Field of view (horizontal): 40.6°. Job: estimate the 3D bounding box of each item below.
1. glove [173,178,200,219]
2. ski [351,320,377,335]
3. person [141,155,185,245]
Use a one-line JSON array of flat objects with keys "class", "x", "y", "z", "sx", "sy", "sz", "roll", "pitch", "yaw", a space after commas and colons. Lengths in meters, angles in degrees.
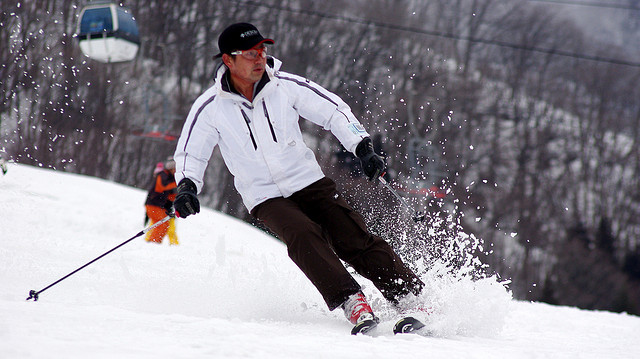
[{"class": "glove", "x": -1.802, "y": 0.261, "z": 11.750, "sx": 0.297, "sy": 0.578, "sz": 0.230, "roll": 0, "pitch": -10, "yaw": -10}, {"class": "ski", "x": 0.591, "y": 1.993, "z": 11.553, "sx": 0.279, "sy": 0.082, "sz": 0.162, "roll": -23, "pitch": 30, "yaw": -8}, {"class": "person", "x": -2.441, "y": 0.370, "z": 13.647, "sx": 0.649, "sy": 1.859, "sz": 0.568, "roll": -19, "pitch": -30, "yaw": 21}]
